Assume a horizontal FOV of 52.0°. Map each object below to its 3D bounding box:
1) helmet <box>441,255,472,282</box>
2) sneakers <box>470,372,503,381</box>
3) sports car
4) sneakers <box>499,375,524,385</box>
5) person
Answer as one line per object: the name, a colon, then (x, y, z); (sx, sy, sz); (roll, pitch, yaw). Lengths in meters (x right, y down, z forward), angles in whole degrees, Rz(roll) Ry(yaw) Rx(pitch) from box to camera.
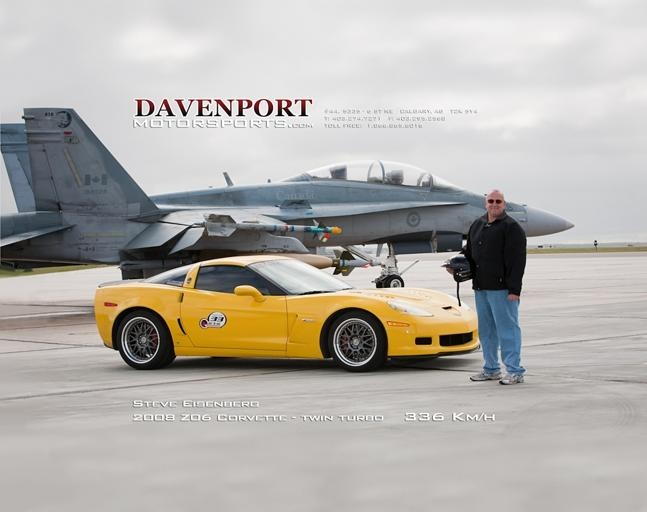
helmet: (1.582, 0.144, 7.820); (0.542, 0.245, 0.313); (-1, -1, 5)
sneakers: (1.916, 1.401, 7.680); (0.414, 0.095, 0.106); (3, -3, -6)
sports car: (-0.639, 0.757, 8.816); (4.525, 0.785, 1.993); (-1, -1, 12)
sneakers: (2.083, 1.385, 7.405); (0.343, 0.083, 0.082); (1, 29, -4)
person: (1.931, 0.341, 7.655); (0.716, 2.175, 0.610); (-2, 2, 36)
